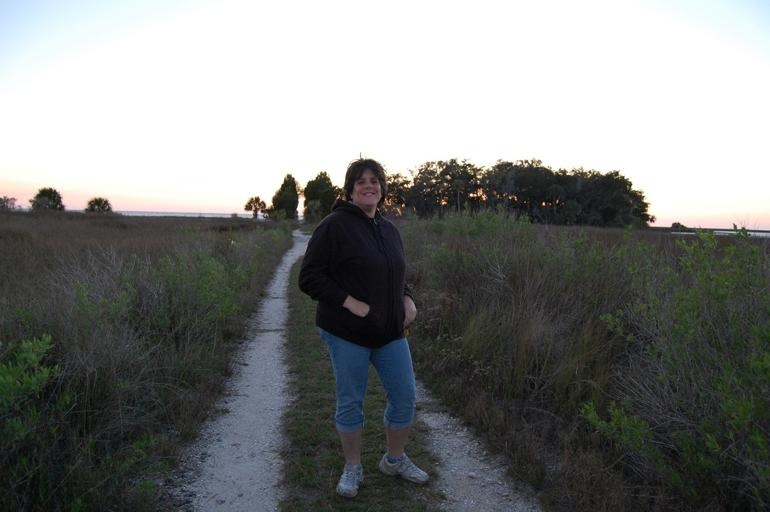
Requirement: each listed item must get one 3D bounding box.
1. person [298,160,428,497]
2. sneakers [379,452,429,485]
[{"bbox_3d":[-0.229,0.737,5.682,1.170,3.466,0.526,1,4,1],"label":"person"},{"bbox_3d":[0.200,2.285,6.006,0.571,0.297,0.237,13,4,5],"label":"sneakers"}]
